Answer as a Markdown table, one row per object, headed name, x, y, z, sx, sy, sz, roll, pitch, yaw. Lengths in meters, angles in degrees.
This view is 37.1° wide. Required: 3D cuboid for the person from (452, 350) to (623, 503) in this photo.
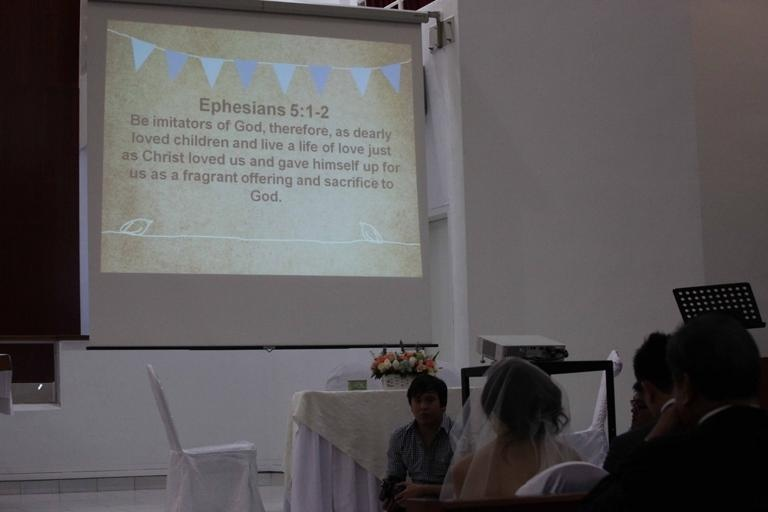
| name | x | y | z | sx | sy | sz | roll | pitch | yaw |
| --- | --- | --- | --- | --- | --- | --- | --- | --- | --- |
| person | 0.935 | 1.133 | 7.350 | 0.850 | 1.023 | 0.571 | -16 | 23 | -42 |
